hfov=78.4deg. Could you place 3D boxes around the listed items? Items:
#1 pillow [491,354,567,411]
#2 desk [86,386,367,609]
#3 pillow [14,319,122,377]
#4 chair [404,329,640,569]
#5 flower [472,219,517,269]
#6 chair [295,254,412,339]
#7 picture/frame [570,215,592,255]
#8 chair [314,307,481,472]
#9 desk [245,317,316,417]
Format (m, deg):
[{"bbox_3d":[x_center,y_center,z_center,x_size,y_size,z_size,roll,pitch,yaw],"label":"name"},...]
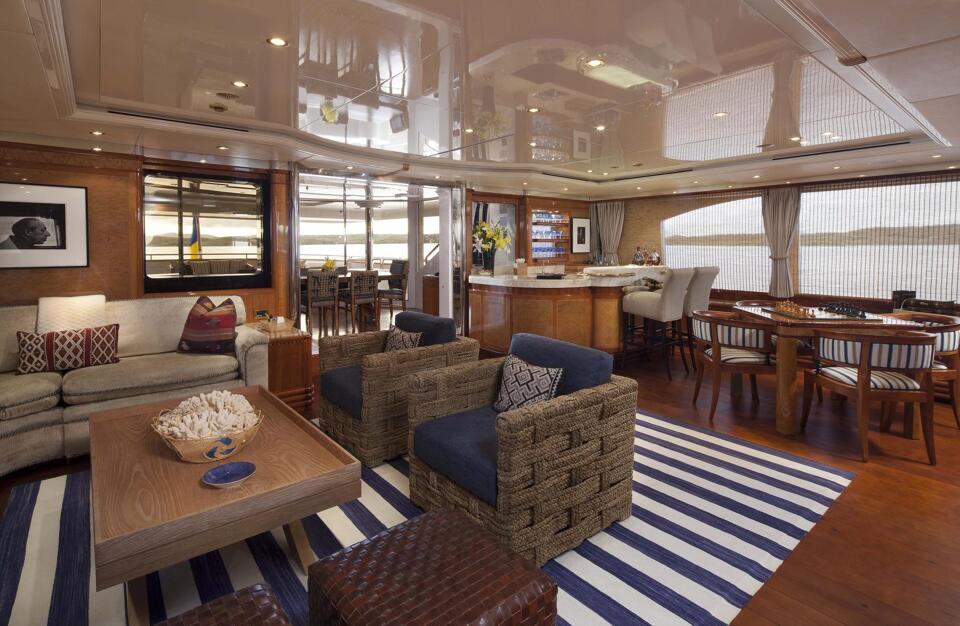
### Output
[{"bbox_3d":[0.350,0.556,4.573,0.446,0.426,0.135,7,-17,42],"label":"pillow"},{"bbox_3d":[-1.975,1.115,4.056,1.373,0.688,1.570,-6,10,-42],"label":"desk"},{"bbox_3d":[-3.916,0.356,5.629,0.793,0.460,0.203,-8,34,-43],"label":"pillow"},{"bbox_3d":[0.271,0.929,4.681,1.530,1.315,1.540,-7,12,-28],"label":"chair"},{"bbox_3d":[0.147,-1.040,9.523,0.473,0.615,0.571,4,-9,11],"label":"flower"},{"bbox_3d":[-2.030,-0.252,9.407,1.526,0.706,1.496,-6,11,-33],"label":"chair"},{"bbox_3d":[1.950,-1.565,11.610,0.809,0.903,0.066,-3,5,-42],"label":"picture/frame"},{"bbox_3d":[-0.880,0.578,5.680,1.403,1.319,1.355,-2,5,-38],"label":"chair"},{"bbox_3d":[-2.185,0.691,6.861,0.604,0.881,1.045,-5,-5,-7],"label":"desk"}]
